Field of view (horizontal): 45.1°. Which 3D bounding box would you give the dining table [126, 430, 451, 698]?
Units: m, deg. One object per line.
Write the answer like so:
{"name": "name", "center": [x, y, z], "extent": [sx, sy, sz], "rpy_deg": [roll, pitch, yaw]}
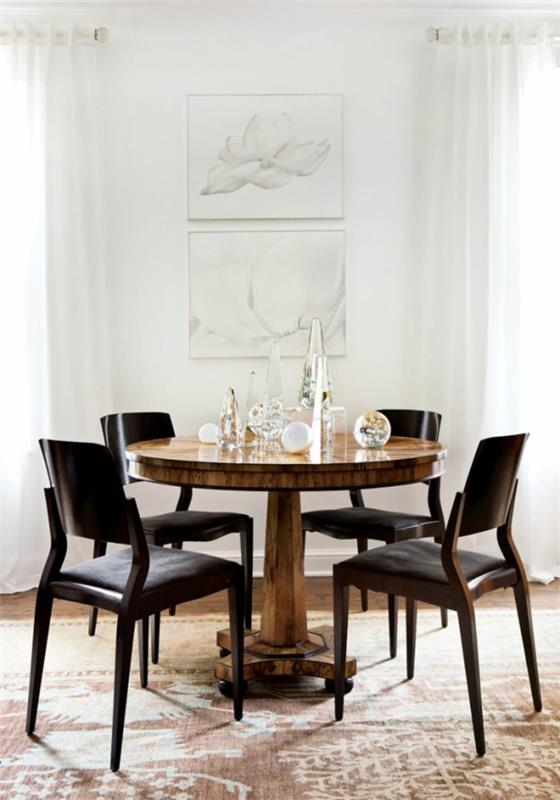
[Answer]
{"name": "dining table", "center": [0.009, 0.486, 2.021], "extent": [0.829, 0.696, 0.867], "rpy_deg": [1, 1, 27]}

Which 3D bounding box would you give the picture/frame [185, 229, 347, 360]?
{"name": "picture/frame", "center": [-0.088, -0.519, 3.198], "extent": [0.627, 0.543, 0.012], "rpy_deg": [0, 0, -3]}

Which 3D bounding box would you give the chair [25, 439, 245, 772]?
{"name": "chair", "center": [-0.350, 0.464, 1.731], "extent": [0.423, 0.737, 0.496], "rpy_deg": [-1, -1, 45]}

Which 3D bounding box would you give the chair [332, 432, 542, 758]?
{"name": "chair", "center": [0.419, 0.459, 1.764], "extent": [0.400, 0.758, 0.407], "rpy_deg": [3, 2, 32]}
